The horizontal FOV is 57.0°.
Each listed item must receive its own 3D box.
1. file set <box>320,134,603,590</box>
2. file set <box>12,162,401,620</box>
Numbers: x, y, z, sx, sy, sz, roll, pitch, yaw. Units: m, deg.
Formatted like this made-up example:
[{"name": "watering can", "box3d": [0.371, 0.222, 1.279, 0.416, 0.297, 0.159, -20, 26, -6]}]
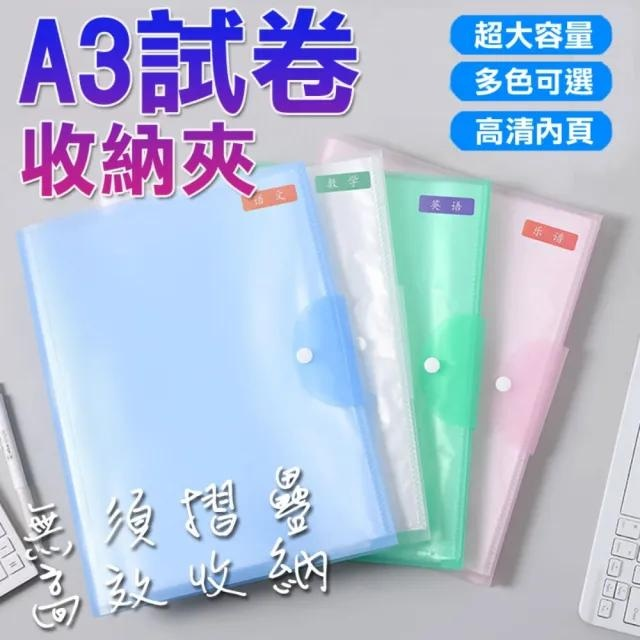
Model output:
[{"name": "file set", "box3d": [0.214, 0.069, 0.865, 0.397, 0.495, 0.123, 19, -4, 6]}, {"name": "file set", "box3d": [-0.144, 0.074, 0.697, 0.398, 0.497, 0.276, -4, 18, -12]}]
